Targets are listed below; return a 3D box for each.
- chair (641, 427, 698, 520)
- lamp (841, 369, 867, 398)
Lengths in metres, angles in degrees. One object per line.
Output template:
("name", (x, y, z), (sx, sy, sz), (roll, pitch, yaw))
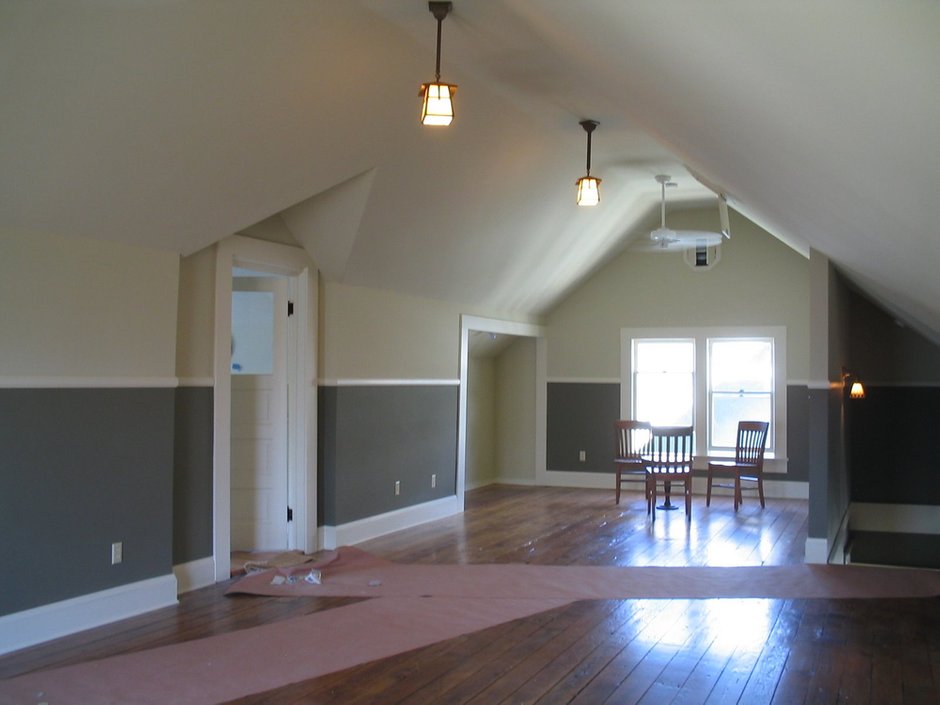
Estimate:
("chair", (2.446, 1.327, 8.951), (0.555, 1.038, 2.207), (1, 0, 16))
("lamp", (4.316, 0.333, 8.204), (0.205, 0.368, 0.337), (-5, -2, 23))
